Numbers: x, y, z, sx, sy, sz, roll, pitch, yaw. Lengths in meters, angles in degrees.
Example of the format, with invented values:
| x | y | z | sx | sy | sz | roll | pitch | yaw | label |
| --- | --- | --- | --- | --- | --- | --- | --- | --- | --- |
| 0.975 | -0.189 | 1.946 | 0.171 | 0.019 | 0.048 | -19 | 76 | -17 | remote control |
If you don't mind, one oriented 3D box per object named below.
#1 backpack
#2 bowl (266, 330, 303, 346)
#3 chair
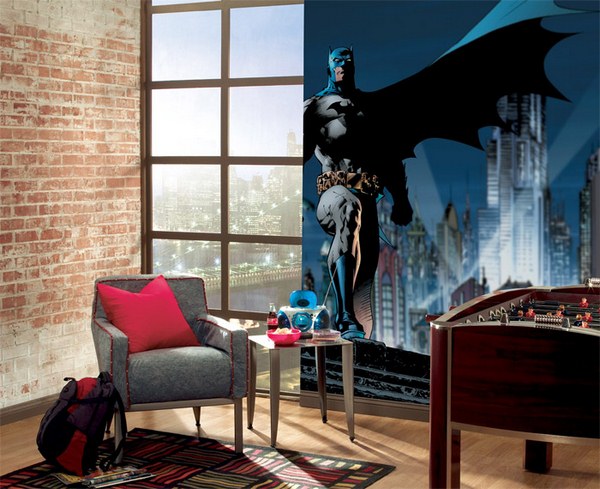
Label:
| x | y | z | sx | sy | sz | roll | pitch | yaw | label |
| --- | --- | --- | --- | --- | --- | --- | --- | --- | --- |
| -1.160 | 1.022 | 3.478 | 0.471 | 0.613 | 0.520 | 20 | -17 | -13 | backpack |
| -0.064 | 0.559 | 3.723 | 0.257 | 0.091 | 0.139 | -2 | 4 | -31 | bowl |
| -0.819 | 0.677 | 3.874 | 0.971 | 1.289 | 1.037 | 0 | -3 | -26 | chair |
